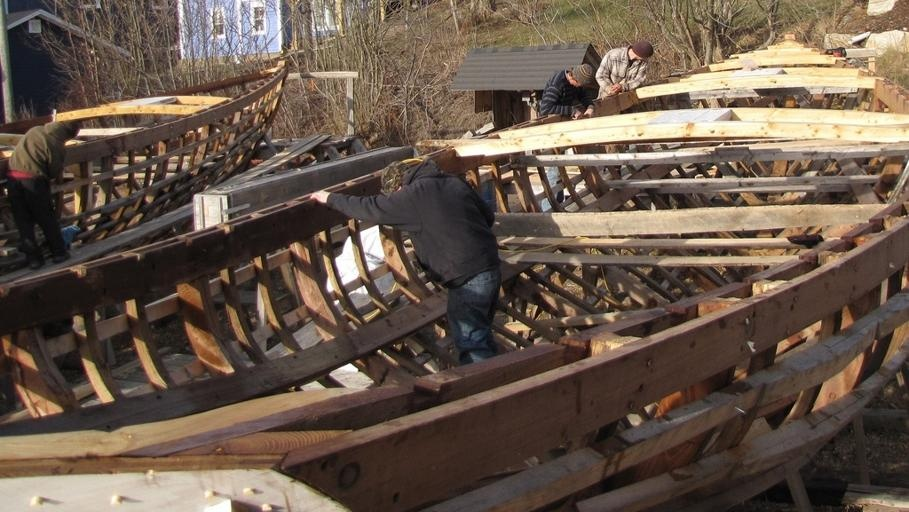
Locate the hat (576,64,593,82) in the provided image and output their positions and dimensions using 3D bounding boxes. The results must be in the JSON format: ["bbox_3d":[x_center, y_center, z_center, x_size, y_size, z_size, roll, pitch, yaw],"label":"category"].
[{"bbox_3d":[1.855,-2.588,9.834,0.221,0.278,0.719,-2,17,10],"label":"hat"}]

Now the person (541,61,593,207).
[{"bbox_3d":[1.624,-1.958,10.268,0.786,1.946,0.717,8,37,14],"label":"person"}]

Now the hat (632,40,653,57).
[{"bbox_3d":[2.780,-3.027,10.111,0.284,0.241,0.467,-1,17,14],"label":"hat"}]

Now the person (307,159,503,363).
[{"bbox_3d":[-0.294,0.223,6.326,1.613,2.102,1.187,-14,17,-5],"label":"person"}]

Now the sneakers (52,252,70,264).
[{"bbox_3d":[-4.786,0.007,8.381,0.263,0.082,0.106,-25,-3,-36],"label":"sneakers"}]

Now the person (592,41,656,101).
[{"bbox_3d":[2.537,-2.800,10.268,0.757,0.732,0.797,-2,17,11],"label":"person"}]

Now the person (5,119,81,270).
[{"bbox_3d":[-4.865,-0.725,8.154,0.822,1.633,0.315,-14,19,-24],"label":"person"}]
